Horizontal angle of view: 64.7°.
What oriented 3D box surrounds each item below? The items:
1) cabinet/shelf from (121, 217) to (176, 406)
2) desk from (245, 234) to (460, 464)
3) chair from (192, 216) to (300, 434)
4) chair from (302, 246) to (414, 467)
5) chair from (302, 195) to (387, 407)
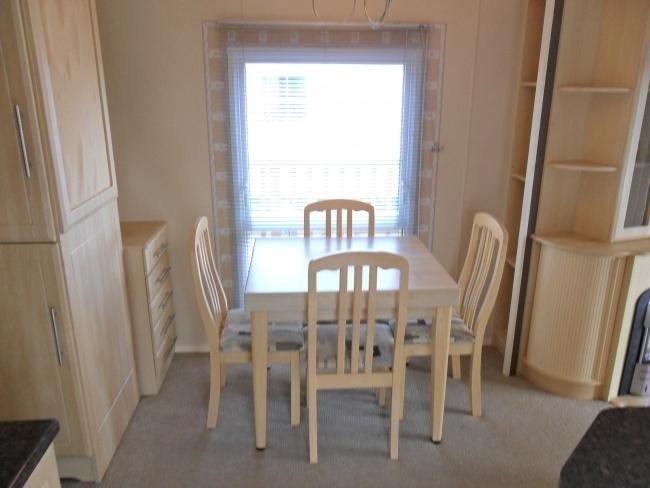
[{"bbox_3d":[-1.141,0.439,3.262,0.325,0.972,0.778,-4,29,-8],"label":"cabinet/shelf"},{"bbox_3d":[0.182,0.782,3.191,1.210,0.857,1.319,3,-16,-10],"label":"desk"},{"bbox_3d":[-0.477,0.507,3.129,0.699,1.398,0.747,-2,25,-5],"label":"chair"},{"bbox_3d":[0.175,0.554,2.853,0.550,1.210,0.552,1,19,7],"label":"chair"},{"bbox_3d":[0.162,0.541,2.969,0.496,0.965,0.552,-1,4,-5],"label":"chair"}]
